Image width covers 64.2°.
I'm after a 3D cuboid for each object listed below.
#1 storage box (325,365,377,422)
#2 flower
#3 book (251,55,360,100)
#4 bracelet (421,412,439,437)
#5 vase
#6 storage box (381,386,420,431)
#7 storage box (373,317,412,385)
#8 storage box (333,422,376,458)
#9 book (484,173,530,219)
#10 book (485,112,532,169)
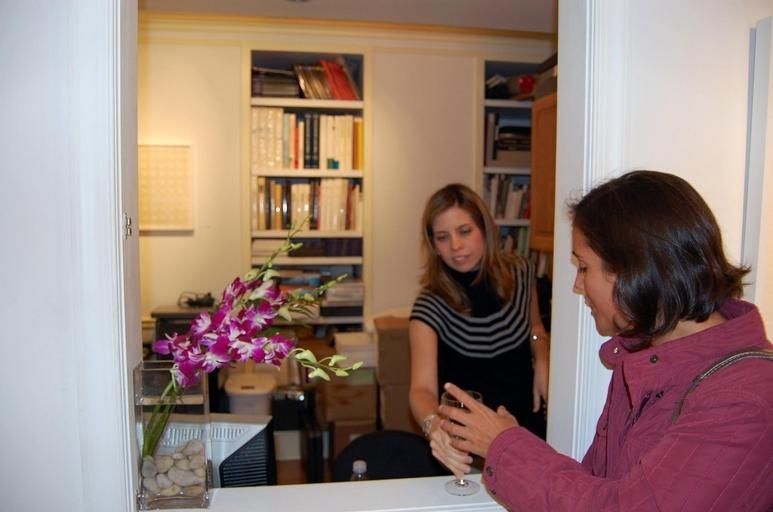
[{"bbox_3d":[-0.216,0.817,3.689,0.354,0.329,0.349,0,-2,-6],"label":"storage box"},{"bbox_3d":[-0.485,0.190,1.993,0.534,0.596,1.329,-4,4,-14],"label":"flower"},{"bbox_3d":[-0.603,-1.225,4.357,0.536,0.178,0.395,-1,8,-11],"label":"book"},{"bbox_3d":[0.128,0.518,1.897,0.027,0.073,0.059,-1,-21,30],"label":"bracelet"},{"bbox_3d":[-0.565,0.467,1.623,0.191,0.400,0.086,-5,4,-17],"label":"vase"},{"bbox_3d":[0.062,0.904,3.643,0.219,0.282,0.295,-2,-11,-5],"label":"storage box"},{"bbox_3d":[0.029,0.556,3.616,0.193,0.347,0.295,-3,4,-2],"label":"storage box"},{"bbox_3d":[-0.191,1.006,3.519,0.240,0.177,0.234,0,0,-1],"label":"storage box"},{"bbox_3d":[0.899,-0.438,4.718,0.341,0.340,0.114,-1,0,-3],"label":"book"},{"bbox_3d":[0.881,-0.828,4.567,0.468,0.339,0.137,1,-4,-9],"label":"book"}]
